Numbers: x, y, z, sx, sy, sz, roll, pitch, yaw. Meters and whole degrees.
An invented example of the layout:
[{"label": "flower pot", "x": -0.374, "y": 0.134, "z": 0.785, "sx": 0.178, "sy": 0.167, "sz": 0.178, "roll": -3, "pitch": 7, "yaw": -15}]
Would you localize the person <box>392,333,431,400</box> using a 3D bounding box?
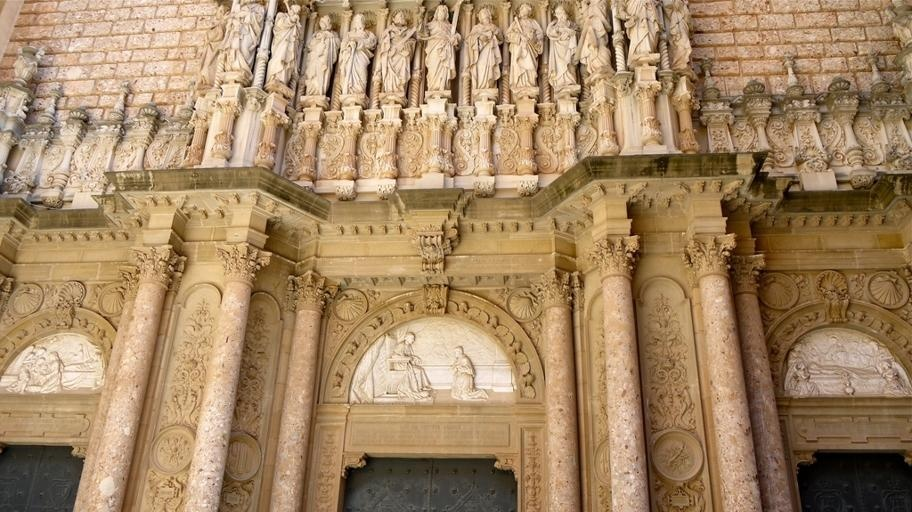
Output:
[{"label": "person", "x": -1.300, "y": 2.712, "z": 16.665, "sx": 1.278, "sy": 1.887, "sz": 1.153, "roll": -1, "pitch": -13, "yaw": 2}]
